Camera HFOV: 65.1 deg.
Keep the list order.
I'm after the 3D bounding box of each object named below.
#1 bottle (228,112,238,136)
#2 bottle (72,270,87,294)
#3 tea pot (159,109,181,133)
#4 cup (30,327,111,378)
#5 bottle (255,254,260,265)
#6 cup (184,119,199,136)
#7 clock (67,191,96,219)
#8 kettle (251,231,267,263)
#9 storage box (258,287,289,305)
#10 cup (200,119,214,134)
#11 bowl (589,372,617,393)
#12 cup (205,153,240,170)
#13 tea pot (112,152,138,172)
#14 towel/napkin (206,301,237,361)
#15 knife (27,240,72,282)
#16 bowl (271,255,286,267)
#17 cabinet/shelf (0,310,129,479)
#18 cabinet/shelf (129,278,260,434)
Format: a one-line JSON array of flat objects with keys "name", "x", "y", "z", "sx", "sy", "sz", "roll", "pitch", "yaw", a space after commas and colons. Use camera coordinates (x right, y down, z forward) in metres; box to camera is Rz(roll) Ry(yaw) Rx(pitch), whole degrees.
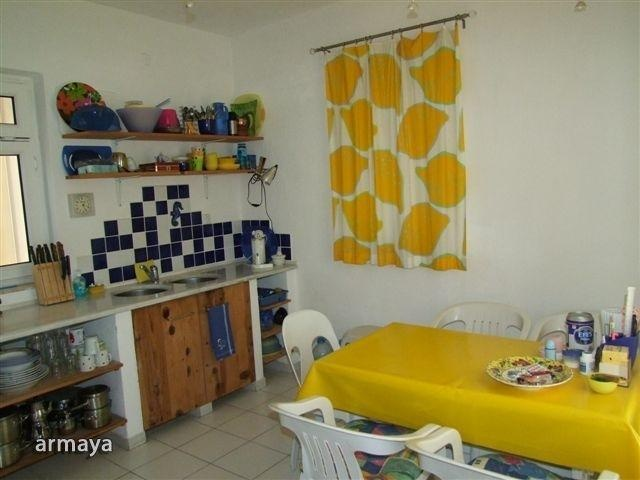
[{"name": "bottle", "x": -0.770, "y": -1.030, "z": 4.466, "sx": 0.042, "sy": 0.173, "sz": 0.173, "roll": -1, "pitch": 3, "yaw": 13}, {"name": "bottle", "x": -1.803, "y": 0.335, "z": 3.762, "sx": 0.076, "sy": 0.174, "sz": 0.096, "roll": -6, "pitch": 15, "yaw": -16}, {"name": "tea pot", "x": -1.238, "y": -0.954, "z": 4.105, "sx": 0.185, "sy": 0.179, "sz": 0.184, "roll": 1, "pitch": 2, "yaw": 0}, {"name": "cup", "x": -1.704, "y": 0.748, "z": 3.452, "sx": 0.480, "sy": 0.455, "sz": 0.269, "roll": -1, "pitch": 1, "yaw": 4}, {"name": "bottle", "x": -0.561, "y": 0.176, "z": 4.544, "sx": 0.050, "sy": 0.089, "sz": 0.027, "roll": -3, "pitch": 14, "yaw": -3}, {"name": "cup", "x": -1.122, "y": -0.952, "z": 4.272, "sx": 0.165, "sy": 0.164, "sz": 0.114, "roll": 2, "pitch": 8, "yaw": -6}, {"name": "clock", "x": -1.820, "y": -0.269, "z": 3.854, "sx": 0.053, "sy": 0.173, "sz": 0.181, "roll": -2, "pitch": 3, "yaw": 28}, {"name": "kettle", "x": -0.565, "y": 0.066, "z": 4.617, "sx": 0.141, "sy": 0.296, "sz": 0.235, "roll": -4, "pitch": 14, "yaw": -6}, {"name": "storage box", "x": -0.473, "y": 0.527, "z": 4.630, "sx": 0.275, "sy": 0.117, "sz": 0.352, "roll": 1, "pitch": 14, "yaw": 14}, {"name": "cup", "x": -0.959, "y": -0.986, "z": 4.355, "sx": 0.116, "sy": 0.117, "sz": 0.116, "roll": 1, "pitch": 21, "yaw": 0}, {"name": "bowl", "x": 1.338, "y": 0.674, "z": 2.376, "sx": 0.118, "sy": 0.058, "sz": 0.134, "roll": 7, "pitch": 16, "yaw": 35}, {"name": "cup", "x": -0.888, "y": -0.684, "z": 4.506, "sx": 0.263, "sy": 0.104, "sz": 0.168, "roll": -5, "pitch": 6, "yaw": -39}, {"name": "tea pot", "x": -1.515, "y": -0.607, "z": 3.921, "sx": 0.133, "sy": 0.153, "sz": 0.299, "roll": 4, "pitch": 15, "yaw": 23}, {"name": "towel/napkin", "x": -0.792, "y": 0.728, "z": 4.004, "sx": 0.088, "sy": 0.379, "sz": 0.295, "roll": -3, "pitch": 3, "yaw": 33}, {"name": "knife", "x": -1.951, "y": 0.172, "z": 3.647, "sx": 0.275, "sy": 0.277, "sz": 0.084, "roll": -5, "pitch": -10, "yaw": -30}, {"name": "bowl", "x": -0.391, "y": 0.193, "z": 4.655, "sx": 0.104, "sy": 0.070, "sz": 0.105, "roll": 0, "pitch": 0, "yaw": 0}, {"name": "cabinet/shelf", "x": -1.725, "y": 1.025, "z": 3.355, "sx": 0.555, "sy": 0.922, "sz": 1.000, "roll": 4, "pitch": 10, "yaw": 42}, {"name": "cabinet/shelf", "x": -0.996, "y": 0.850, "z": 4.050, "sx": 1.018, "sy": 0.872, "sz": 0.381, "roll": -8, "pitch": 5, "yaw": -39}]
